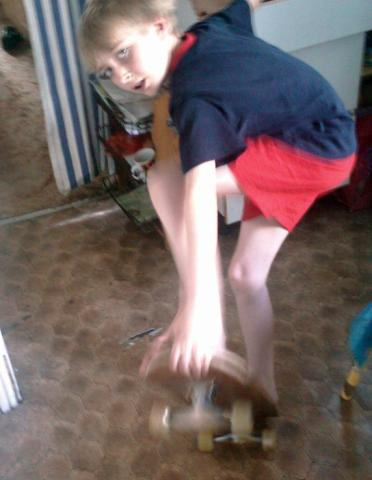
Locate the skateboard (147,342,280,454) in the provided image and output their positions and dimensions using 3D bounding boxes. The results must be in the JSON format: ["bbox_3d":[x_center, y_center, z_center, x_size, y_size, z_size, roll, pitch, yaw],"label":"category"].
[{"bbox_3d":[0.048,0.250,0.744,0.232,0.165,0.072,6,20,13],"label":"skateboard"}]

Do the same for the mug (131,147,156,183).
[{"bbox_3d":[-0.134,-0.200,1.214,0.074,0.082,0.083,2,66,-20],"label":"mug"}]
